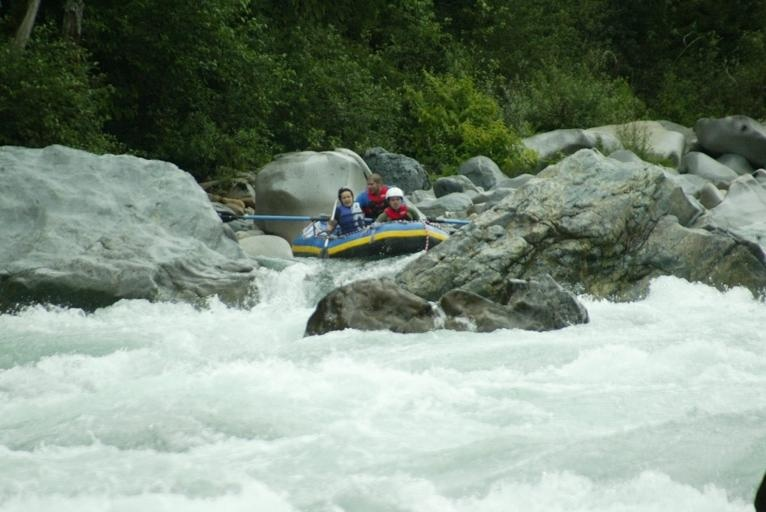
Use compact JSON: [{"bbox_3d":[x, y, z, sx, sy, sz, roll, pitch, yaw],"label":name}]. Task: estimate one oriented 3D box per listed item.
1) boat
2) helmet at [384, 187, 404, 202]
[{"bbox_3d":[-0.243,-0.275,20.855,2.104,0.432,1.251,-10,-6,29],"label":"boat"},{"bbox_3d":[0.272,-1.365,21.193,0.256,0.275,0.325,-13,-9,-9],"label":"helmet"}]
